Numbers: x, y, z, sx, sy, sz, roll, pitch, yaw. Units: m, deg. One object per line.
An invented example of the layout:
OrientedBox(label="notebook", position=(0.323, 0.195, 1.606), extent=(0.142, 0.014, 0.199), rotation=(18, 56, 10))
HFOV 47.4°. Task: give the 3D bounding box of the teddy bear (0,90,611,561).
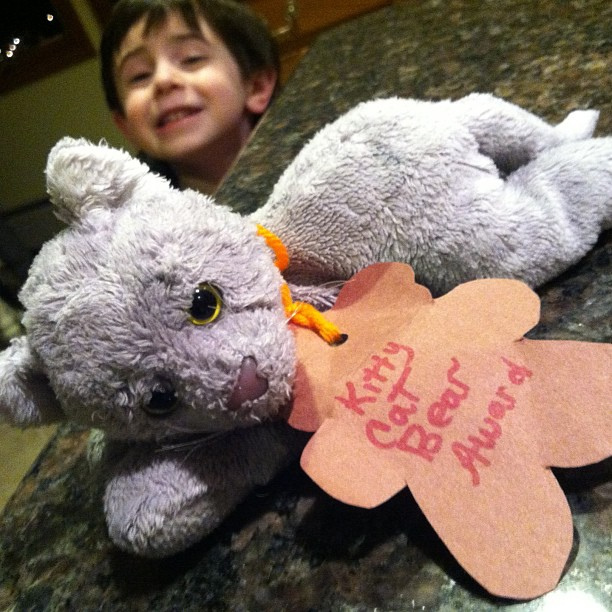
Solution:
OrientedBox(label="teddy bear", position=(0.056, -0.056, 0.803), extent=(0.713, 0.278, 0.388), rotation=(-31, 28, -24))
